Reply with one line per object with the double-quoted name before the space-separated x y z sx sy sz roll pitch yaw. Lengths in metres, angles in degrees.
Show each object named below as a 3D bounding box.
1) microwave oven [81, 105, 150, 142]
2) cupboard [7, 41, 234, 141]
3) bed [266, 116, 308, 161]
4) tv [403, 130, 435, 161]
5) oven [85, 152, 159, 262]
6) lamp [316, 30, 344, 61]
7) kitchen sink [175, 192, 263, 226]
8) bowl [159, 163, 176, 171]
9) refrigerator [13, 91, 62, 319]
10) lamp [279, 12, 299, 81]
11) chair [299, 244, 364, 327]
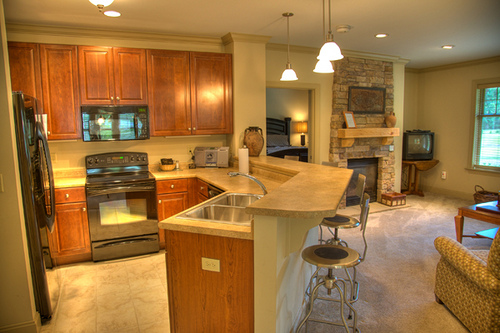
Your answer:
"microwave oven" -1.977 -0.642 5.206 0.963 0.541 0.561 -2 4 -26
"cupboard" -1.828 -1.085 5.290 3.688 1.338 1.276 4 7 -26
"bed" 0.889 -0.795 9.961 1.132 0.971 1.385 -3 5 -21
"tv" 3.768 -0.468 8.018 0.721 0.748 0.465 -1 3 -5
"oven" -1.854 0.566 5.212 0.959 1.449 0.501 -5 10 -15
"lamp" 0.893 -1.369 3.985 0.297 0.305 0.286 -9 11 -37
"kitchen sink" -0.340 0.464 3.863 0.793 0.308 0.881 3 8 30
"bowl" -1.323 0.007 5.659 0.266 0.102 0.157 -4 9 -9
"refrigerator" -2.474 0.427 4.176 0.337 2.512 0.860 -8 11 -28
"lamp" 0.514 -1.621 4.862 0.319 0.855 0.310 -22 27 -40
"chair" 0.887 1.255 3.965 0.632 0.970 1.193 0 9 16
